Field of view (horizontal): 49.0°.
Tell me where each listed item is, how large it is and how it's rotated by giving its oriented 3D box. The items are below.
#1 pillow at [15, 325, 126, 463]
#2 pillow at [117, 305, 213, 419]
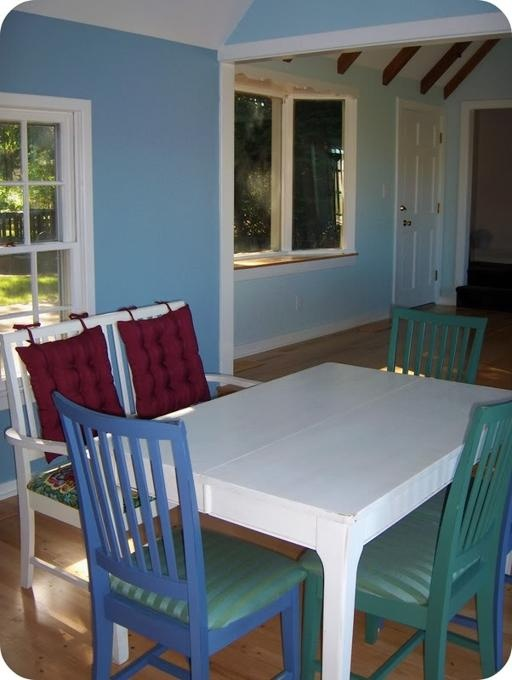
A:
[{"bbox_3d":[-0.766,0.215,2.084,0.128,0.466,0.497,-11,2,27],"label":"pillow"},{"bbox_3d":[-0.374,0.102,2.365,0.100,0.414,0.437,-3,10,37],"label":"pillow"}]
